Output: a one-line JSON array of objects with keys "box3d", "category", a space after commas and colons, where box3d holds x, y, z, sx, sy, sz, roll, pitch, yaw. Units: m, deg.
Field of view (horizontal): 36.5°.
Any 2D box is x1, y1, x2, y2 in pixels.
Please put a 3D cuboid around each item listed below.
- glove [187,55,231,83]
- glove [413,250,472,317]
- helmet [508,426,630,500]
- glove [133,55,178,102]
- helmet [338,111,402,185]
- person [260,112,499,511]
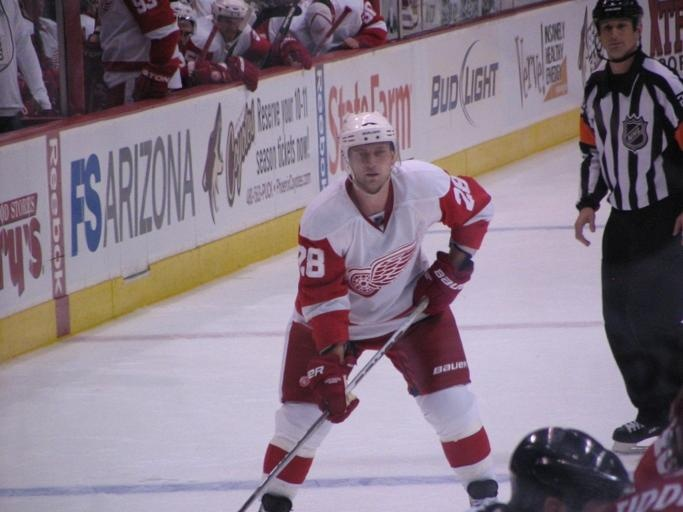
[{"box3d": [-0.946, -1.315, 7.290, 0.236, 0.180, 0.100, 1, -24, 9], "category": "glove"}, {"box3d": [0.449, 0.126, 4.641, 0.170, 0.317, 0.220, 32, -15, 31], "category": "glove"}, {"box3d": [0.640, 0.583, 2.928, 0.236, 0.139, 0.182, 4, 0, 19], "category": "helmet"}, {"box3d": [-1.247, -1.184, 6.916, 0.245, 0.261, 0.126, 18, 5, -35], "category": "glove"}, {"box3d": [0.122, -0.499, 4.382, 0.222, 0.282, 0.300, -9, 17, -9], "category": "helmet"}, {"box3d": [0.162, 0.265, 4.347, 0.957, 1.708, 0.692, 0, 10, 6], "category": "person"}]
